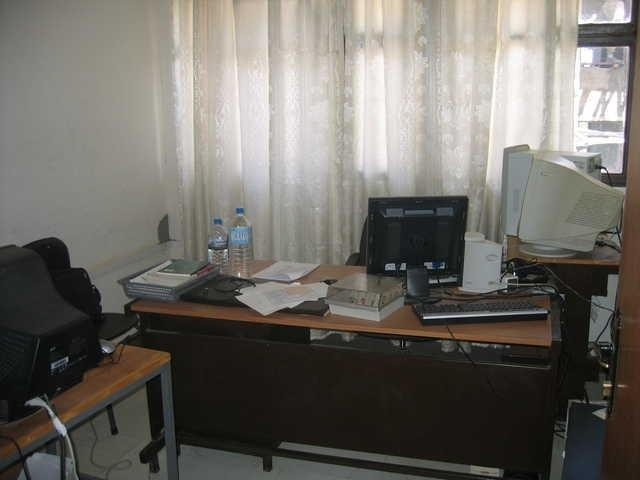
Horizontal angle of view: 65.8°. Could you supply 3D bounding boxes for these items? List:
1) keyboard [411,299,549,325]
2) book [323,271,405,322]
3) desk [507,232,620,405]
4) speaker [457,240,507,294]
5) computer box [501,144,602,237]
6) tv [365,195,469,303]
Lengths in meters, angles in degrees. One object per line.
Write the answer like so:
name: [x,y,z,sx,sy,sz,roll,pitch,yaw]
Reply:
keyboard: [0.731,0.314,2.278,0.595,0.061,0.206,-1,14,-4]
book: [0.223,0.259,2.358,0.321,0.151,0.259,6,15,22]
desk: [1.329,0.540,3.176,0.746,0.940,0.997,1,13,12]
speaker: [0.806,0.100,2.533,0.187,0.254,0.194,9,23,13]
computer box: [1.449,-0.359,3.132,0.558,0.560,0.585,1,9,17]
tv: [0.477,0.041,2.441,0.488,0.476,0.175,0,6,3]
